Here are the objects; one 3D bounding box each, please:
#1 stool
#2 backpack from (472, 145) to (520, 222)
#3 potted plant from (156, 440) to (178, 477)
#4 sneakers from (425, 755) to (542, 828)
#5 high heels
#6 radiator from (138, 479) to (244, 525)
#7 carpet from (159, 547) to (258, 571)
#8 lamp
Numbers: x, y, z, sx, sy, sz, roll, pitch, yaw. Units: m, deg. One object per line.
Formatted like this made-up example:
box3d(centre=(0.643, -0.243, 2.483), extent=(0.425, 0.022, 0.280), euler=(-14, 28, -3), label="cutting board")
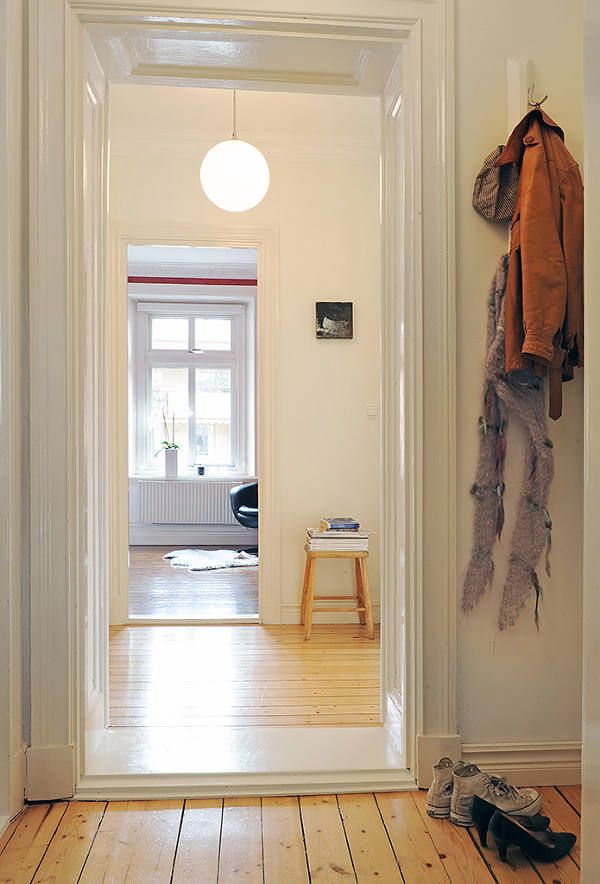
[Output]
box3d(centre=(0.192, 0.773, 4.033), extent=(0.413, 0.526, 0.415), euler=(1, -2, -7), label="stool")
box3d(centre=(0.586, -0.754, 2.359), extent=(0.108, 0.217, 0.152), euler=(6, -7, -12), label="backpack")
box3d(centre=(-1.230, 0.167, 7.274), extent=(0.180, 0.340, 0.338), euler=(0, 1, -24), label="potted plant")
box3d(centre=(0.470, 0.934, 2.089), extent=(0.345, 0.161, 0.135), euler=(2, -3, -16), label="sneakers")
box3d(centre=(0.565, 0.979, 1.958), extent=(0.164, 0.093, 0.128), euler=(-4, -5, -22), label="high heels")
box3d(centre=(-1.060, 0.557, 7.090), extent=(0.993, 0.428, 0.145), euler=(0, 1, -6), label="radiator")
box3d(centre=(-0.715, 0.950, 6.154), extent=(0.736, 0.030, 0.962), euler=(0, 1, -10), label="carpet")
box3d(centre=(-0.300, -1.260, 3.593), extent=(0.305, 0.332, 0.144), euler=(0, 1, -8), label="lamp")
